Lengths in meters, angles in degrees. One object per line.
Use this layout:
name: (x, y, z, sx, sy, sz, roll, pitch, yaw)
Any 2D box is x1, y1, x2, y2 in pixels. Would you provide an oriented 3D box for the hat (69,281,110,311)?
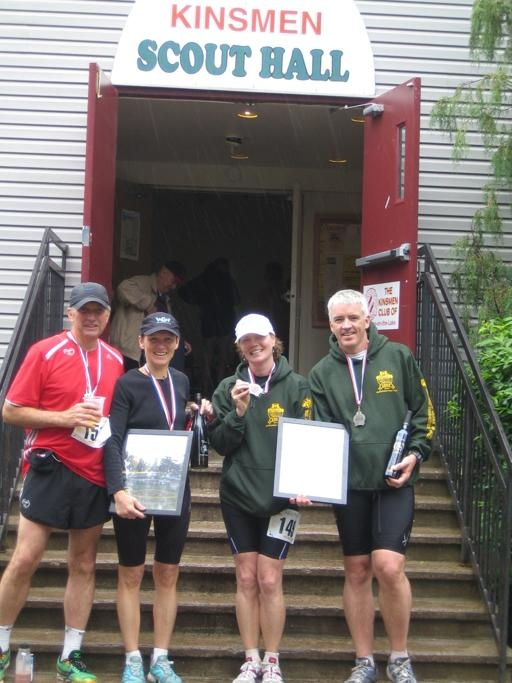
hat: (-0.767, -0.211, 3.782, 0.099, 0.098, 0.161, 4, -7, -13)

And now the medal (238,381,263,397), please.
medal: (-0.019, 0.216, 3.750, 0.085, 0.023, 0.073, 34, 2, -11)

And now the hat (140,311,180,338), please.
hat: (-0.451, -0.076, 3.816, 0.172, 0.104, 0.239, -1, 6, -10)

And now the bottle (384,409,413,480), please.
bottle: (0.656, 0.472, 3.760, 0.062, 0.268, 0.234, 2, 5, 28)

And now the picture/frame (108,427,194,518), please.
picture/frame: (-0.484, 0.581, 3.671, 0.293, 0.464, 0.028, 7, -21, -3)

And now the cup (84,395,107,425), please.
cup: (-0.713, 0.308, 3.684, 0.102, 0.156, 0.098, 0, -3, 0)

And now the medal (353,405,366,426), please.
medal: (0.481, 0.355, 3.811, 0.045, 0.085, 0.053, -3, 6, -41)

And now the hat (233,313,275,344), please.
hat: (-0.010, -0.054, 3.841, 0.176, 0.139, 0.227, 1, 6, 4)
